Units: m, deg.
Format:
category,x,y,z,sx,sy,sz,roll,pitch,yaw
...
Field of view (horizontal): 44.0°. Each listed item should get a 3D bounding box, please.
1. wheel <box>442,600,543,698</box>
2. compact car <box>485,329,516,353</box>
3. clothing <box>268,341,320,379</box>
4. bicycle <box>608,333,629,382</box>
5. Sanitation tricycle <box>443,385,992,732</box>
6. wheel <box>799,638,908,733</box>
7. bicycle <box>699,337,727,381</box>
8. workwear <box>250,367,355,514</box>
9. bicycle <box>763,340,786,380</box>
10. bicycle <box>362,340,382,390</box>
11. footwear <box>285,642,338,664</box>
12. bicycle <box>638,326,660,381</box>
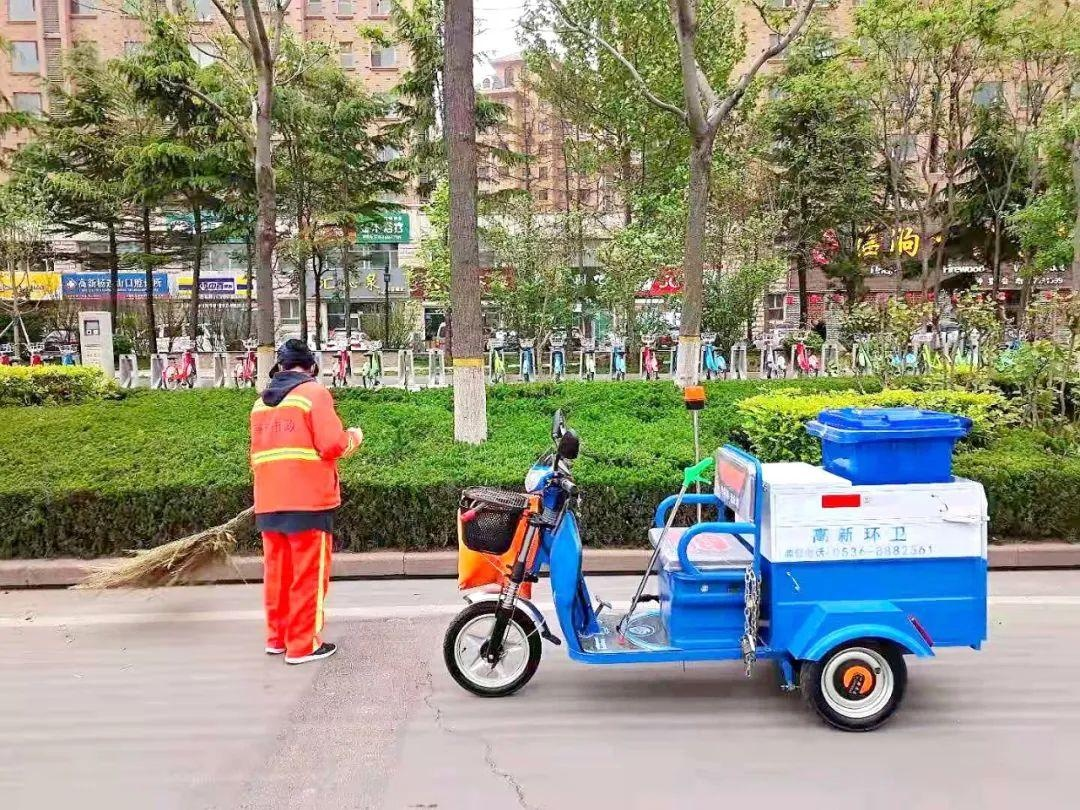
category,x,y,z,sx,sy,sz,roll,pitch,yaw
wheel,-0.584,3.172,17.298,1.105,1.270,0.275,0,5,5
compact car,-1.083,-1.752,36.977,0.697,0.633,1.216,1,11,4
clothing,-3.260,-0.615,17.938,0.492,0.432,0.483,-1,4,18
bicycle,1.978,-1.154,34.048,0.621,0.830,1.249,0,1,-3
Sanitation tricycle,2.377,2.034,18.587,6.185,3.865,3.763,1,0,1
wheel,3.941,3.487,16.849,0.844,0.936,0.348,-16,-5,-4
bicycle,4.309,-1.075,33.245,0.693,0.924,1.401,-1,12,9
workwear,-3.095,0.404,18.182,1.750,2.202,1.510,0,1,31
bicycle,5.999,-1.135,34.427,0.695,0.795,1.204,0,8,0
bicycle,-4.184,-0.955,33.583,0.483,0.909,1.400,-2,4,-7
footwear,-3.027,3.234,17.856,0.640,0.322,0.259,-4,5,-29
bicycle,2.760,-1.199,34.213,0.692,1.012,1.528,-1,2,-5
